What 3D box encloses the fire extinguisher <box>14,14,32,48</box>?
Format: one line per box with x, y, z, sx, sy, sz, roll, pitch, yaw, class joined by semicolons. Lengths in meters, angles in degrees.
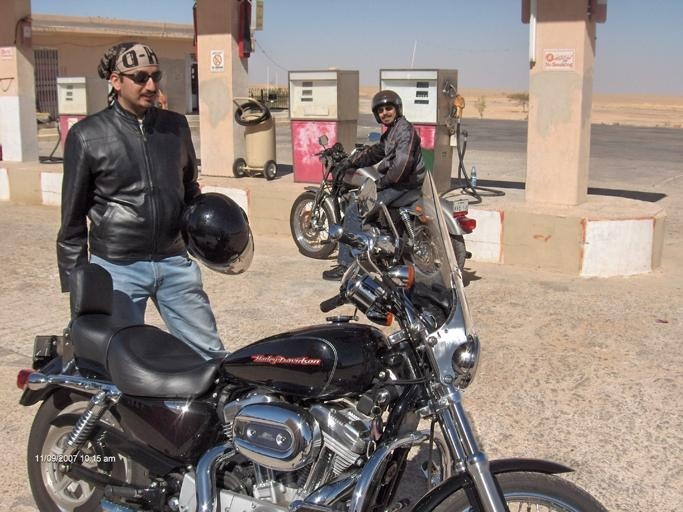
-7.394;-5.213;14.579;0.359;0.707;0.271;-6;13;-35;fire extinguisher

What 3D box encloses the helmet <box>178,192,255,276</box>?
-0.667;-0.102;3.511;0.356;0.463;0.241;-41;4;-8;helmet

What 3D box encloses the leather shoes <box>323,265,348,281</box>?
-0.037;0.195;7.110;0.142;0.154;0.366;-5;3;-38;leather shoes

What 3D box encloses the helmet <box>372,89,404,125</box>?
0.494;-1.721;7.201;0.320;0.361;0.419;-1;23;18;helmet

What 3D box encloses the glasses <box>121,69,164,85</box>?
-1.087;-0.992;3.469;0.242;0.098;0.103;-8;15;-44;glasses

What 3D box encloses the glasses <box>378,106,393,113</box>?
0.506;-1.644;7.034;0.080;0.064;0.105;-3;-8;14;glasses
